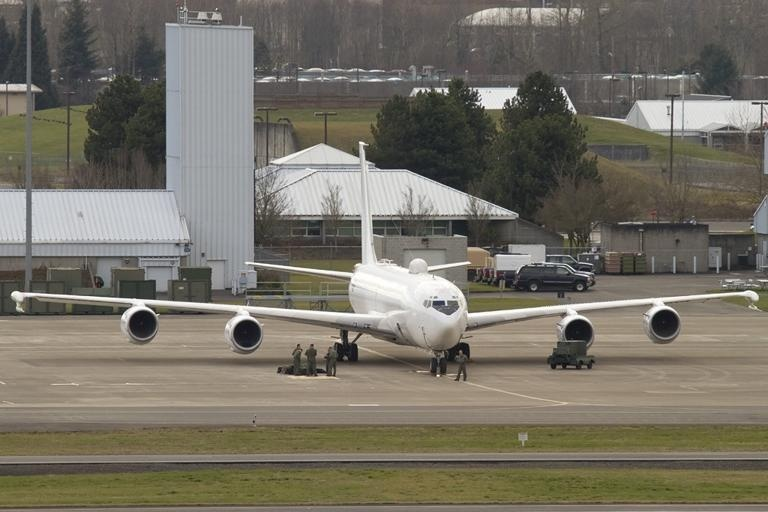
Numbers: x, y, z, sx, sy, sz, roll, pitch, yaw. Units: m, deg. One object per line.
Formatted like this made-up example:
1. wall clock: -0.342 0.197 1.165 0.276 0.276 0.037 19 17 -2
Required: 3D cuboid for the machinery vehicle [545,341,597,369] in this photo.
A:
1. machinery vehicle: 17.232 9.152 203.288 2.548 1.801 3.586 1 5 13
